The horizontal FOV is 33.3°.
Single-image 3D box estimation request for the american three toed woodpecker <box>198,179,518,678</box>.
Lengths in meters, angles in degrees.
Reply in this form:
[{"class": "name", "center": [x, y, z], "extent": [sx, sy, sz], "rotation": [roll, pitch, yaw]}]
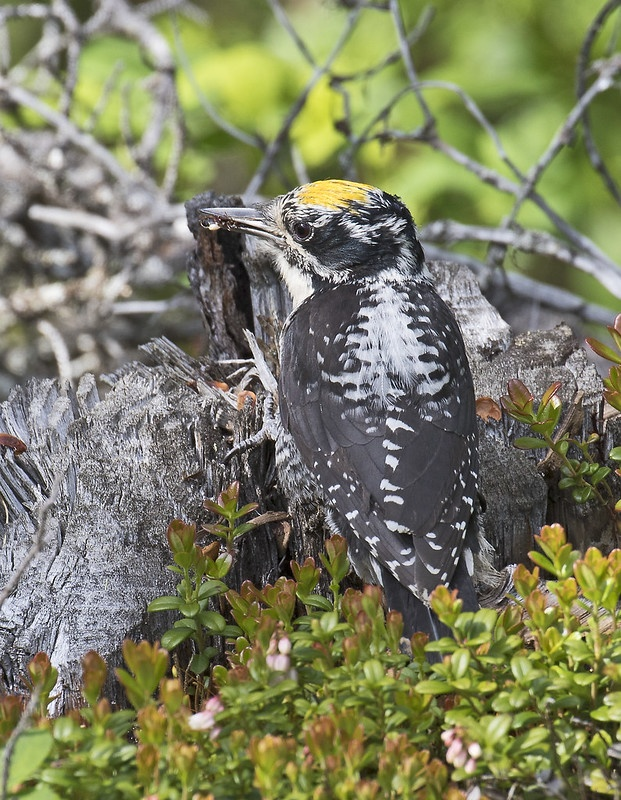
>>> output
[{"class": "american three toed woodpecker", "center": [0.111, 0.032, 3.125], "extent": [0.544, 0.673, 1.504], "rotation": [-14, 57, -10]}]
